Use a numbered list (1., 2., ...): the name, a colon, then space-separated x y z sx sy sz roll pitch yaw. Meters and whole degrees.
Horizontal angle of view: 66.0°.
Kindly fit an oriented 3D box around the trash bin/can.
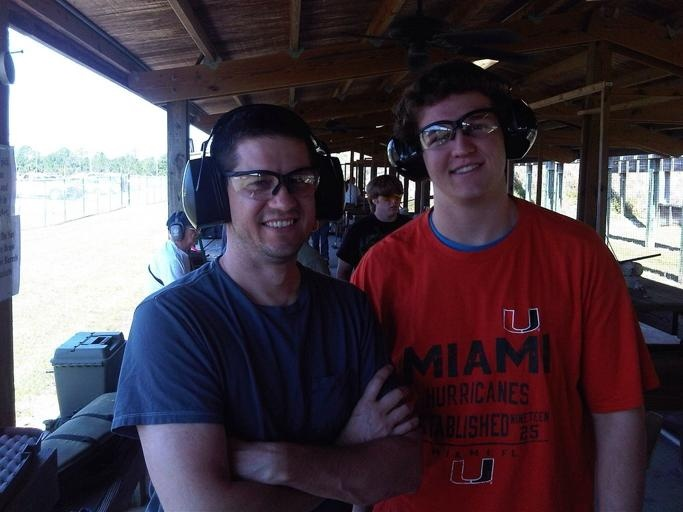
1. trash bin/can: -1.924 0.949 4.036 0.393 0.701 0.403 0 20 -19

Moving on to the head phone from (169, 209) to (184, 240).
1. head phone: -1.437 -0.268 4.670 0.076 0.201 0.213 -2 -31 -3
